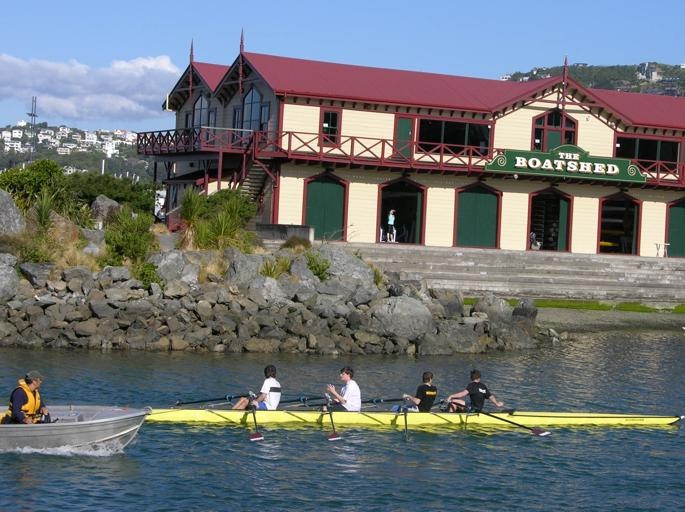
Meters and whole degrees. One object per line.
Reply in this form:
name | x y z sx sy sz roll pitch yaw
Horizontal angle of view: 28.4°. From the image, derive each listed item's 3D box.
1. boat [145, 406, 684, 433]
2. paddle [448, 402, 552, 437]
boat | 2.099 5.617 46.566 17.651 0.537 0.848 2 -1 -3
paddle | 5.391 5.676 46.780 2.847 0.408 0.393 14 -15 14
